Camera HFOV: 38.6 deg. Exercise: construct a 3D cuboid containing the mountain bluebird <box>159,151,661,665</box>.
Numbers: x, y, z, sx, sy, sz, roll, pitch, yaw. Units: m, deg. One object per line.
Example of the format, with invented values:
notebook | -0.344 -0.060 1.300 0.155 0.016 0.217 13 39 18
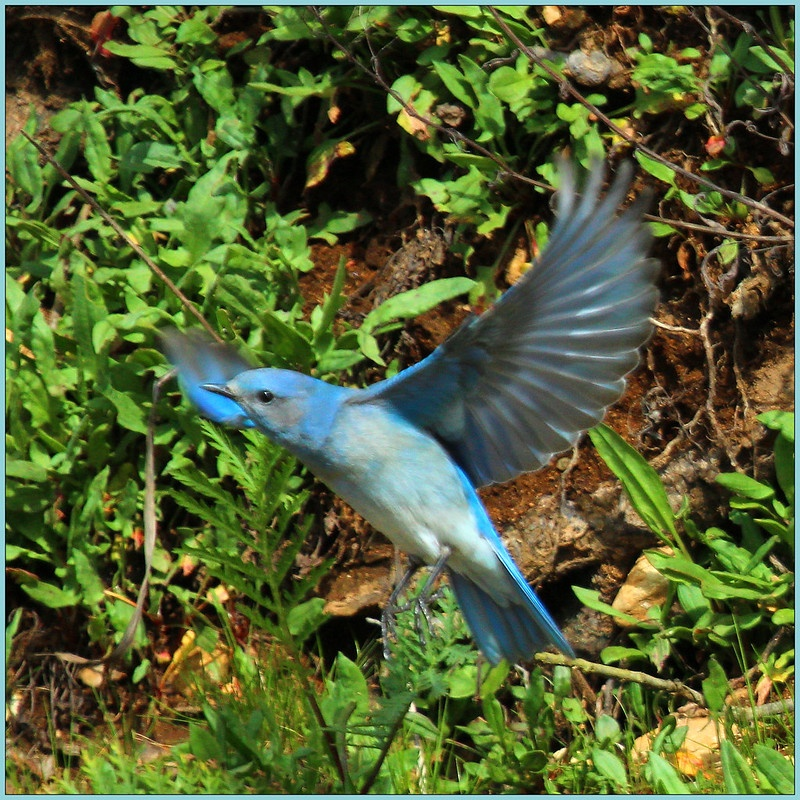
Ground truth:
mountain bluebird | 0.189 0.082 3.105 1.028 1.355 0.507 7 5 34
